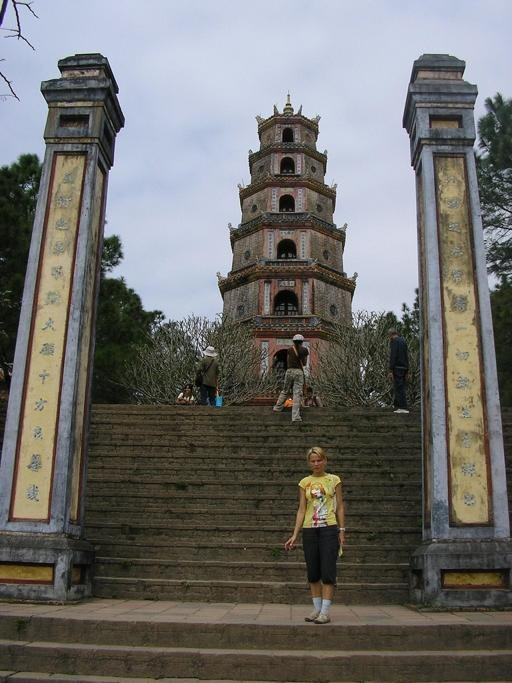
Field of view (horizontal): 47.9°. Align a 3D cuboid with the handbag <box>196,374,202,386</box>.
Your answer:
[{"bbox_3d":[-1.047,0.722,10.492,0.129,0.174,0.345,3,-15,-9],"label":"handbag"}]

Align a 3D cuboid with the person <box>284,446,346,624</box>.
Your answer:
[{"bbox_3d":[0.421,1.377,4.154,0.414,1.200,0.682,0,-15,5],"label":"person"}]

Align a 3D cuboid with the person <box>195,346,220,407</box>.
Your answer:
[{"bbox_3d":[-0.921,0.627,10.709,0.414,1.270,1.062,2,-15,-6],"label":"person"}]

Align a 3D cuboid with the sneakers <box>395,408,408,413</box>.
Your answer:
[{"bbox_3d":[2.222,1.083,8.829,0.200,0.086,0.072,7,-15,-7],"label":"sneakers"}]

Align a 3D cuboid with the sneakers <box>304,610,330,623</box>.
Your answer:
[{"bbox_3d":[0.398,1.817,3.800,0.143,0.054,0.089,8,-16,-17],"label":"sneakers"}]
